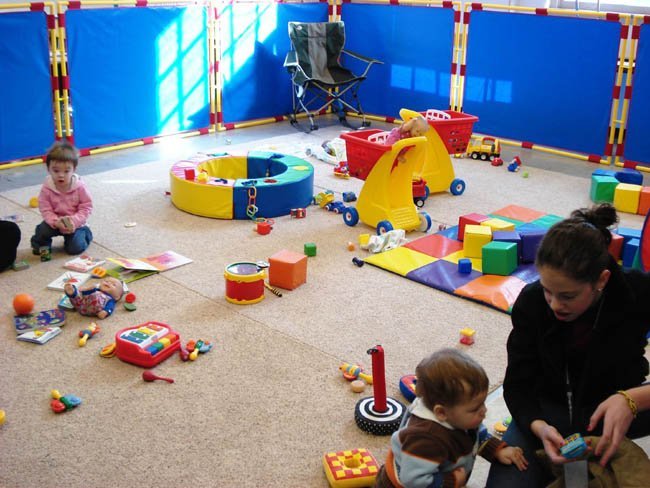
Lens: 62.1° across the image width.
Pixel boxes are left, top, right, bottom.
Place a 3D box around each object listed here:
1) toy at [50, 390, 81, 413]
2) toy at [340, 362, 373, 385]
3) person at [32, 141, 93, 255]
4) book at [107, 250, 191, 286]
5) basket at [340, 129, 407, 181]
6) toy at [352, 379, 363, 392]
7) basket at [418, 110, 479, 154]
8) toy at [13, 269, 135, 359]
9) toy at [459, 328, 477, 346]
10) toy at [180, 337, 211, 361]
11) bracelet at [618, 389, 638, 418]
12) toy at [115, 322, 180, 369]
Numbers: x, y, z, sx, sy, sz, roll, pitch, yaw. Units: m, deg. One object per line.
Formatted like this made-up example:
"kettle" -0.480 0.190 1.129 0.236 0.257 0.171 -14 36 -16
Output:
"toy" -1.319 0.794 2.712 0.115 0.034 0.110 -4 21 -32
"toy" 0.170 0.704 2.958 0.140 0.057 0.097 24 31 18
"person" -2.166 -0.365 4.346 0.485 0.852 0.508 -7 23 -23
"book" -1.343 0.160 4.128 0.402 0.076 0.281 -19 31 -41
"basket" 0.426 -0.848 5.182 0.522 0.399 0.596 14 22 33
"toy" 0.173 0.755 2.863 0.056 0.028 0.053 0 22 4
"basket" 1.309 -1.317 6.103 0.574 0.373 0.738 -12 22 -24
"toy" -1.534 0.448 3.462 0.425 0.222 0.587 24 25 2
"toy" 0.867 0.555 3.302 0.098 0.088 0.094 11 24 22
"toy" -0.769 0.613 3.148 0.124 0.030 0.120 8 19 21
"bracelet" 1.083 0.573 1.929 0.074 0.080 0.071 15 24 31
"toy" -1.060 0.564 3.098 0.262 0.101 0.273 16 24 24
